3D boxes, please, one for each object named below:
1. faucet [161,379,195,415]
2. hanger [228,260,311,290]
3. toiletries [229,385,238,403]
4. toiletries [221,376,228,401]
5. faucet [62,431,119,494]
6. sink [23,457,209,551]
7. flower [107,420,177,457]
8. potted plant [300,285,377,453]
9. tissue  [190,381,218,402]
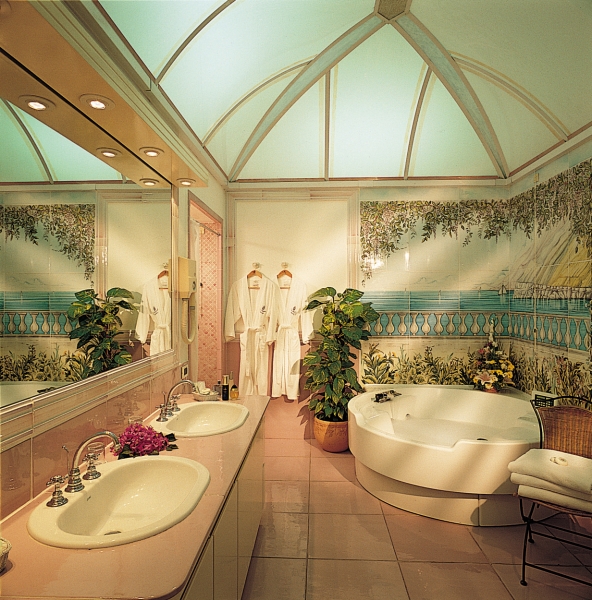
[{"bbox_3d":[-0.739,0.551,2.770,0.253,0.238,0.132,-1,3,-3],"label":"faucet"},{"bbox_3d":[-0.307,-0.258,4.636,0.599,0.246,0.188,0,5,-7],"label":"hanger"},{"bbox_3d":[-0.407,0.601,3.021,0.082,0.121,0.076,1,-8,-7],"label":"toiletries"},{"bbox_3d":[-0.464,0.552,2.987,0.050,0.134,0.126,-1,5,-9],"label":"toiletries"},{"bbox_3d":[-0.766,0.585,1.725,0.194,0.138,0.058,2,-11,-2],"label":"faucet"},{"bbox_3d":[-0.625,0.763,1.710,0.562,0.135,0.603,-2,7,6],"label":"sink"},{"bbox_3d":[-0.679,0.559,2.064,0.215,0.103,0.201,1,-5,11],"label":"flower"},{"bbox_3d":[0.458,0.665,4.207,0.767,1.493,0.706,-6,-17,15],"label":"potted plant"},{"bbox_3d":[-0.594,0.562,2.958,0.154,0.065,0.125,-1,-3,38],"label":"tissue "}]
